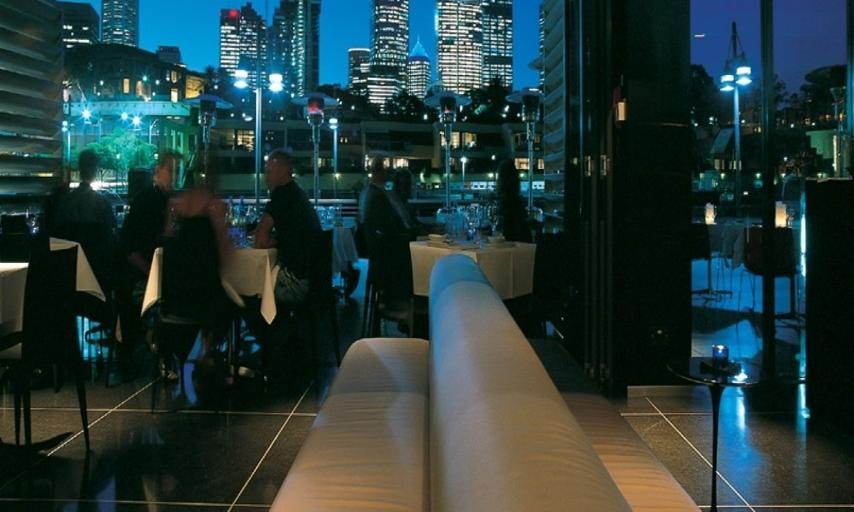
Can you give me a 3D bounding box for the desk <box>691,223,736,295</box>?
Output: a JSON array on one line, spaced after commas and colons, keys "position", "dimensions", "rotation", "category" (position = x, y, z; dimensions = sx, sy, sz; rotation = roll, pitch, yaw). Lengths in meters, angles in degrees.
[{"position": [3.882, 0.034, 10.891], "dimensions": [0.576, 1.056, 2.855], "rotation": [0, 5, 19], "category": "desk"}]
